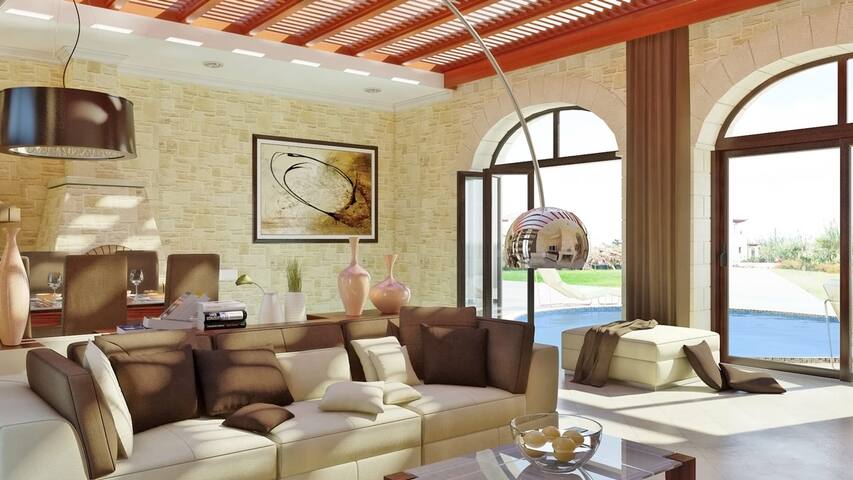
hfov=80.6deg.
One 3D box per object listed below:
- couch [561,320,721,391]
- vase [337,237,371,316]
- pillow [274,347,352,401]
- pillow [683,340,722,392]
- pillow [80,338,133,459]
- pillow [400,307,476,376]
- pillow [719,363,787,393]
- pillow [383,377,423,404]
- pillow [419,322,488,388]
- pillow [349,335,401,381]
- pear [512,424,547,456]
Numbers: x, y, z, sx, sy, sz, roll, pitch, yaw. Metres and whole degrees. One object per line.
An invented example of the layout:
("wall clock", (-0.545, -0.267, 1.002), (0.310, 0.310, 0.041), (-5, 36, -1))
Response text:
("couch", (3.151, 1.374, 6.899), (1.129, 0.485, 1.211), (-1, 0, -43))
("vase", (-0.807, 0.409, 5.693), (0.329, 0.891, 0.417), (1, 1, -6))
("pillow", (-1.145, 1.260, 5.012), (0.858, 0.494, 0.438), (0, -15, -30))
("pillow", (3.578, 1.650, 6.617), (0.469, 0.585, 0.292), (2, 2, 24))
("pillow", (-2.415, 1.223, 3.868), (0.321, 0.818, 0.482), (0, 2, -32))
("pillow", (0.115, 1.097, 5.296), (0.766, 0.691, 0.257), (-2, -12, 8))
("pillow", (4.076, 1.782, 6.450), (0.454, 0.145, 0.419), (-2, -1, 20))
("pillow", (-0.253, 1.408, 4.752), (0.234, 0.068, 0.243), (4, 1, 26))
("pillow", (0.269, 1.219, 5.207), (0.666, 0.502, 0.220), (2, -24, 8))
("pillow", (-0.482, 1.166, 4.980), (0.495, 0.389, 0.131), (-2, -16, -17))
("pear", (0.763, 1.479, 3.744), (0.205, 0.120, 0.191), (0, -3, 19))
